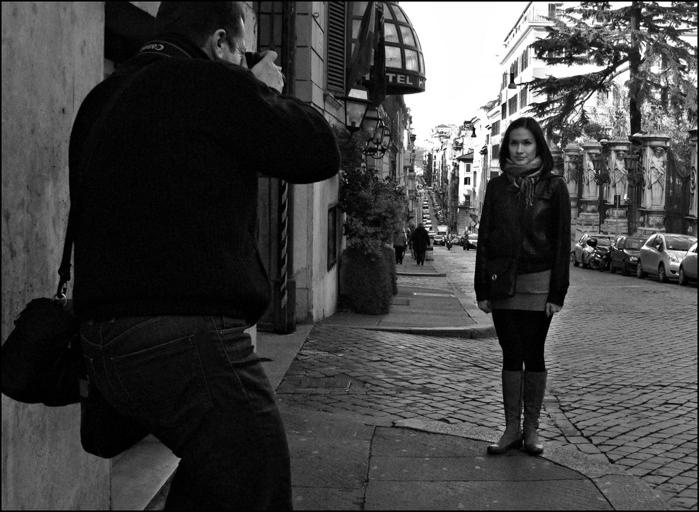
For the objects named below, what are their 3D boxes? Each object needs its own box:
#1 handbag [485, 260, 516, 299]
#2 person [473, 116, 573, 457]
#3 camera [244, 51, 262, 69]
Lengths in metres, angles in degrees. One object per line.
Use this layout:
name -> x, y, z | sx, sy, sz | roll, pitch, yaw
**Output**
handbag -> 1.063, 0.170, 5.201 | 0.081, 0.256, 0.192 | 32, -35, -35
person -> 1.238, 0.196, 5.321 | 0.670, 2.438, 0.401 | -3, -3, 13
camera -> -0.360, -0.748, 2.806 | 0.064, 0.071, 0.028 | -4, -7, -16
